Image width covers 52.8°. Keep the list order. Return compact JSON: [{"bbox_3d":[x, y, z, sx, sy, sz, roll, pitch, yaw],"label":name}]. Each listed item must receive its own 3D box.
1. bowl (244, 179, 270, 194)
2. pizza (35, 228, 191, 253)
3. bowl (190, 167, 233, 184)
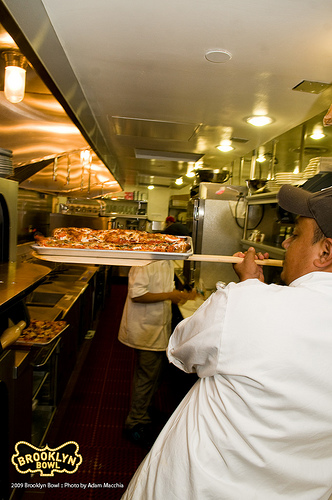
[{"bbox_3d":[0.806,-0.570,2.987,0.171,0.108,0.192,-3,12,-8],"label":"bowl"},{"bbox_3d":[-0.205,-0.045,1.398,0.610,0.073,0.437,2,5,-7],"label":"pizza"},{"bbox_3d":[0.511,-0.810,3.663,0.366,0.192,0.305,3,5,8],"label":"bowl"}]
